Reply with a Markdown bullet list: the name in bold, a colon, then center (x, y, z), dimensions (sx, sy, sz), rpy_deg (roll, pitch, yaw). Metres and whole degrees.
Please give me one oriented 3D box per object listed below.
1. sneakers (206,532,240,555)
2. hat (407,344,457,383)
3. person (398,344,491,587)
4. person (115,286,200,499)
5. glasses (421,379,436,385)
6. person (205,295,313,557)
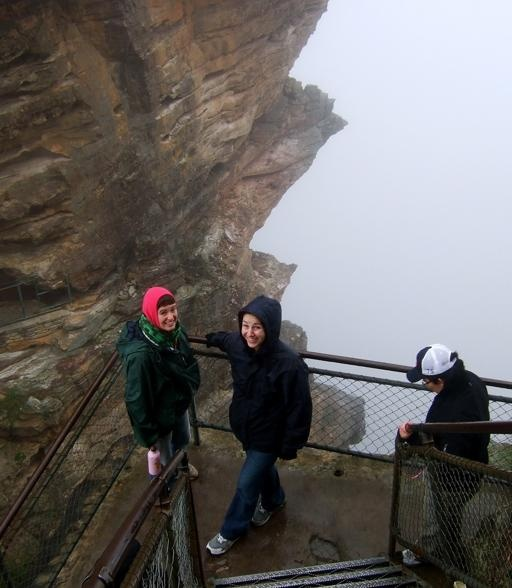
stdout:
- **sneakers**: center (-0.222, 1.727, 3.077), dimensions (0.094, 0.099, 0.245), rpy_deg (35, 12, 31)
- **hat**: center (1.116, 0.429, 2.784), dimensions (0.340, 0.165, 0.215), rpy_deg (-18, 2, 25)
- **person**: center (1.132, 0.941, 2.645), dimensions (0.486, 1.208, 0.675), rpy_deg (3, 14, 22)
- **person**: center (-0.686, 0.646, 3.023), dimensions (0.480, 1.404, 0.704), rpy_deg (-1, 13, 6)
- **glasses**: center (1.089, 0.551, 2.761), dimensions (0.060, 0.018, 0.043), rpy_deg (4, -9, 8)
- **person**: center (0.013, 0.886, 2.960), dimensions (0.720, 1.776, 0.531), rpy_deg (-1, 13, 7)
